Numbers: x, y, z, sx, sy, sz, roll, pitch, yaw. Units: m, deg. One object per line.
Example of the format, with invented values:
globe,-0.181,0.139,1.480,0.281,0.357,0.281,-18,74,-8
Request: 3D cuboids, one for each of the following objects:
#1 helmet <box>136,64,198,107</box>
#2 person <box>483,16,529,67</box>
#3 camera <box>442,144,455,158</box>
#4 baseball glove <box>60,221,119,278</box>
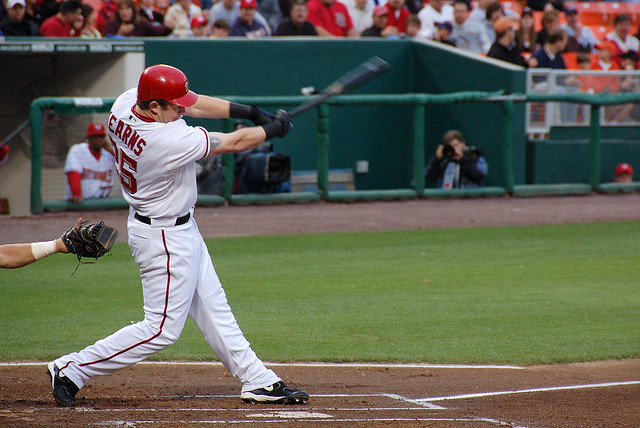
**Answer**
helmet,-1.297,-1.152,11.032,0.588,0.262,0.427,11,34,15
person,2.572,-2.371,17.563,0.567,0.564,0.737,-2,1,8
camera,1.563,-0.764,15.484,0.131,0.143,0.126,9,18,25
baseball glove,-2.033,0.265,11.225,0.464,0.335,0.228,-20,-47,14
